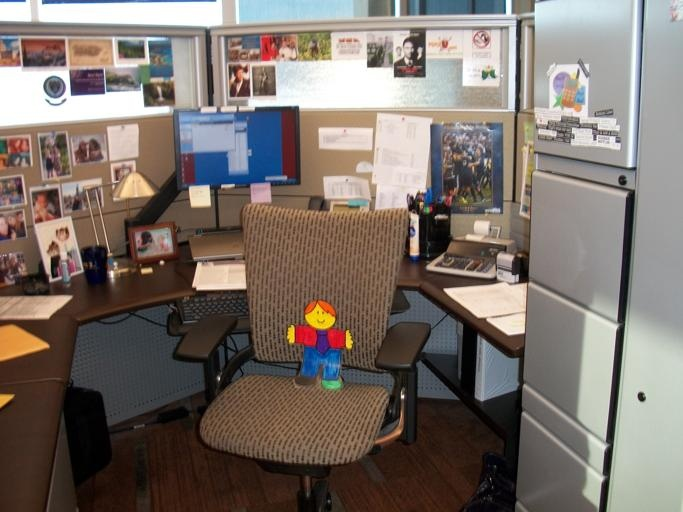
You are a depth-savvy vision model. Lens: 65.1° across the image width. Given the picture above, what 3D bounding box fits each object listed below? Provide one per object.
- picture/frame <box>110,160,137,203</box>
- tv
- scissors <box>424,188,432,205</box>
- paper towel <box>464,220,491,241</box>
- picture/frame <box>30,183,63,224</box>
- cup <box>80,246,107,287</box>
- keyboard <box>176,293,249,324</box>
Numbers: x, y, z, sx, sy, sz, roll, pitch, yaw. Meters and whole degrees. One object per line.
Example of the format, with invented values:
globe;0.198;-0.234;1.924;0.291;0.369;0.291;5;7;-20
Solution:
picture/frame;-1.030;-0.347;2.526;0.121;0.184;0.004;-5;-3;7
tv;-0.614;-0.368;2.479;0.629;0.631;0.177;-3;15;-11
scissors;0.409;-0.280;2.498;0.041;0.061;0.094;1;18;8
paper towel;0.623;-0.130;2.441;0.071;0.070;0.127;5;20;29
picture/frame;-1.292;-0.231;2.324;0.018;0.186;0.145;7;11;36
cup;-1.060;0.039;2.301;0.092;0.164;0.101;-3;4;32
keyboard;-0.547;0.208;2.293;0.283;0.130;0.053;-10;9;-22
